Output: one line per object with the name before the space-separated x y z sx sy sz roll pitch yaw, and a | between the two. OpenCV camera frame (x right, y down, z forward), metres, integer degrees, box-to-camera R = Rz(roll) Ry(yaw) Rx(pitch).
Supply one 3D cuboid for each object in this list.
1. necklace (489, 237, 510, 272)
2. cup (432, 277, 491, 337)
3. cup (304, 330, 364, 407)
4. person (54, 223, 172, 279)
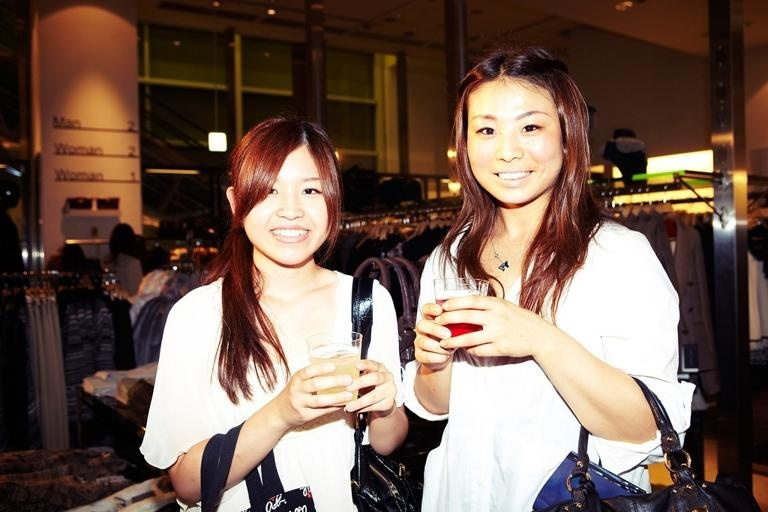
necklace | 0.570 0.000 2.739 0.060 0.117 0.021 -19 -10 -23
cup | 0.340 0.211 2.402 0.231 0.264 0.245 0 2 0
cup | -0.203 0.469 2.342 0.225 0.292 0.129 -3 3 -8
person | -2.576 -0.060 5.301 0.467 0.290 0.719 2 6 40
